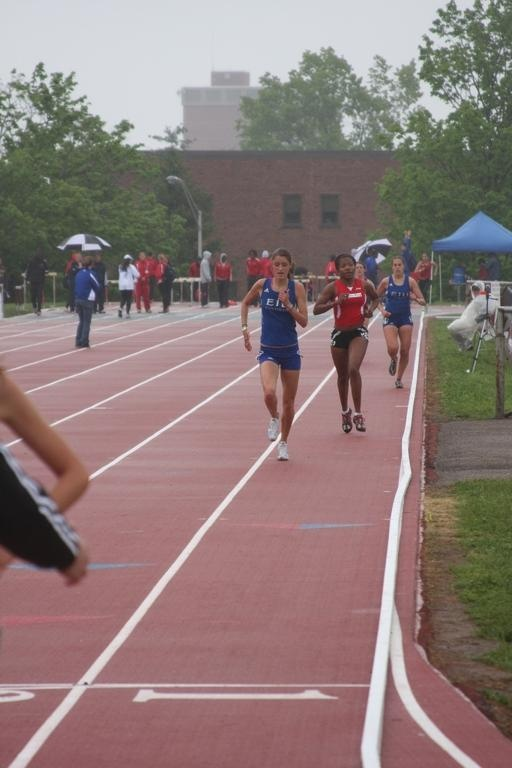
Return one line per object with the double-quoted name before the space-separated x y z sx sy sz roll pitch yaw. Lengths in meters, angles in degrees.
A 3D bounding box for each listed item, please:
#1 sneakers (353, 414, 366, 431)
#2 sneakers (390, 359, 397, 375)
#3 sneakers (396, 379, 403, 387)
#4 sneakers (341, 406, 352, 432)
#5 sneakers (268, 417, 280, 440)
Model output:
"sneakers" 1.305 0.443 10.946 0.093 0.134 0.298 -2 20 -4
"sneakers" 2.416 -0.307 15.359 0.110 0.371 0.142 1 -2 3
"sneakers" 2.458 -0.038 14.999 0.118 0.158 0.342 -1 1 1
"sneakers" 1.151 0.435 11.031 0.094 0.331 0.128 -1 -18 7
"sneakers" 0.189 0.499 9.749 0.089 0.302 0.121 1 -8 2
